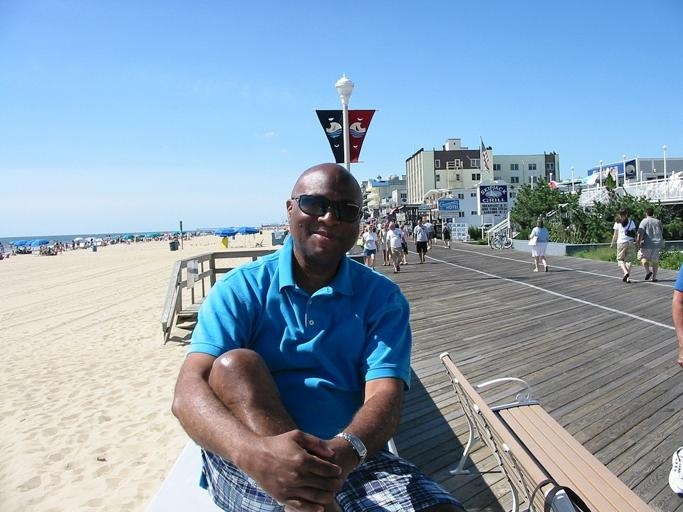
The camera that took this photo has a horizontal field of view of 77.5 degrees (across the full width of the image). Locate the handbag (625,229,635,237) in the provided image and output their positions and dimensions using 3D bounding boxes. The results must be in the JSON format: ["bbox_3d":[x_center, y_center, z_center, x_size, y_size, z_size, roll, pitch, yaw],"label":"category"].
[{"bbox_3d":[8.519,-0.668,12.361,0.363,0.234,0.117,-8,6,-24],"label":"handbag"}]

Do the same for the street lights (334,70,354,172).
[{"bbox_3d":[0.057,-3.170,10.097,0.447,2.174,0.441,5,15,30],"label":"street lights"}]

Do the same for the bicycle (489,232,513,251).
[{"bbox_3d":[9.997,-1.023,26.661,0.905,0.869,1.316,1,-1,-7],"label":"bicycle"}]
